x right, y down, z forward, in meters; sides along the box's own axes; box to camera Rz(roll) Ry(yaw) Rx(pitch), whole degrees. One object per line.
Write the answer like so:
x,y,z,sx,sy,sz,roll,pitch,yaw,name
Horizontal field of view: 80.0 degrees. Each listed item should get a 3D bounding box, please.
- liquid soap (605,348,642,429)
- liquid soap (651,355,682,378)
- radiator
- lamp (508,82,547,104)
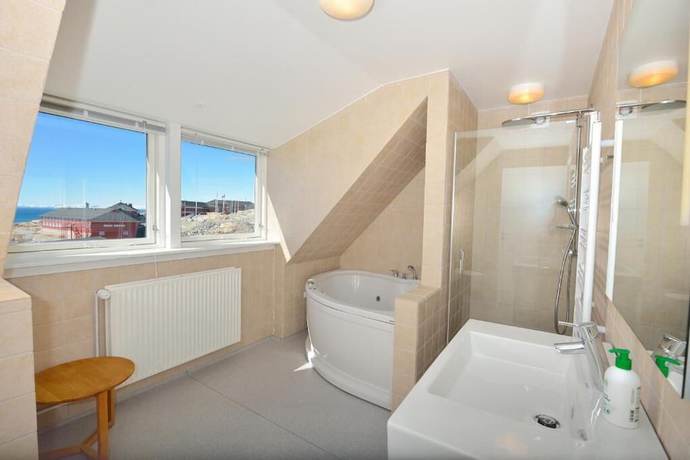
1.223,0.716,1.871,0.173,0.329,0.177,2,2,28,liquid soap
1.305,0.561,1.691,0.060,0.096,0.098,-4,3,-19,liquid soap
-1.436,0.775,3.502,0.173,0.819,1.099,16,19,43,radiator
1.581,-1.214,3.610,0.283,0.154,0.176,7,15,18,lamp
